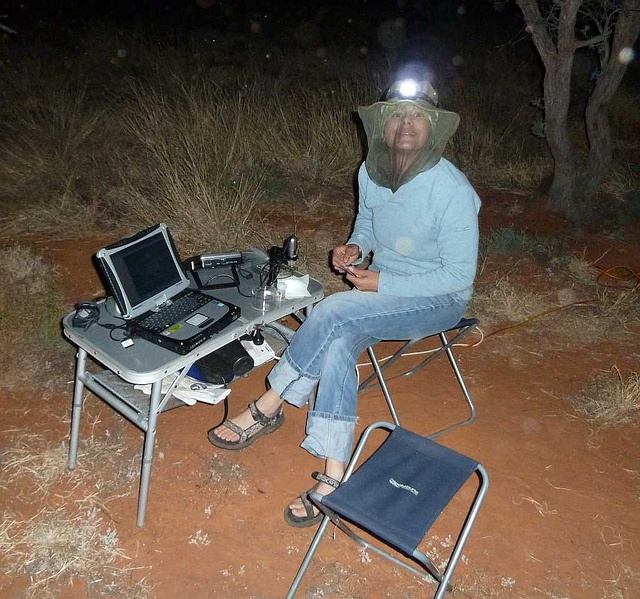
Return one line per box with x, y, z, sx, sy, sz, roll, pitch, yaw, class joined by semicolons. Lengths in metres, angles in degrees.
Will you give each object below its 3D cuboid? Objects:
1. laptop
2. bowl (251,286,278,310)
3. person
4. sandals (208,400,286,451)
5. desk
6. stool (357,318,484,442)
-0.754;-0.059;2.773;0.612;0.489;0.510;26;48;35;laptop
-0.295;0.000;3.058;0.141;0.078;0.137;4;32;-3;bowl
0.128;-0.164;3.414;1.414;2.438;0.976;-4;10;-31;person
-0.424;0.728;3.357;0.481;0.192;0.216;-12;20;-42;sandals
-0.917;0.373;3.459;1.220;1.326;1.323;23;33;35;desk
0.584;0.400;3.715;0.777;0.822;0.763;-13;25;-33;stool
